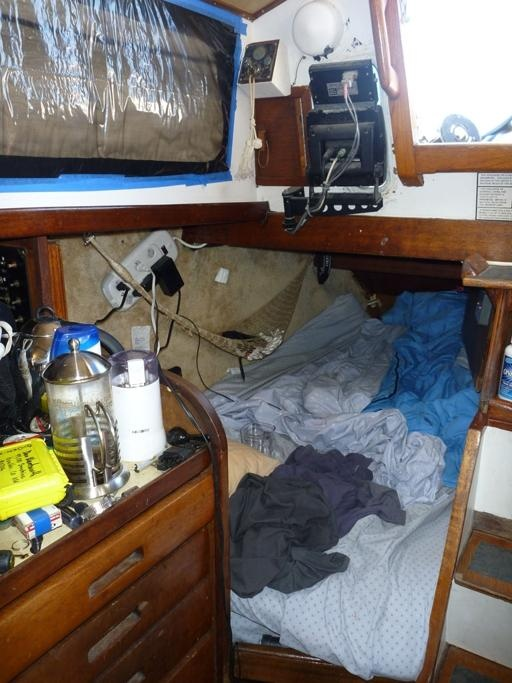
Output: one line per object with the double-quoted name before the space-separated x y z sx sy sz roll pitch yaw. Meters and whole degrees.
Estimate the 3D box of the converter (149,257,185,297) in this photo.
"converter" -0.368 -0.263 2.069 0.096 0.177 0.102 -32 65 -11

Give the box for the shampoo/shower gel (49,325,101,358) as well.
"shampoo/shower gel" -0.366 -0.005 1.032 0.065 0.098 0.100 3 15 -10

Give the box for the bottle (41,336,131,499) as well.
"bottle" -0.315 0.141 0.944 0.132 0.288 0.191 -11 16 -23
